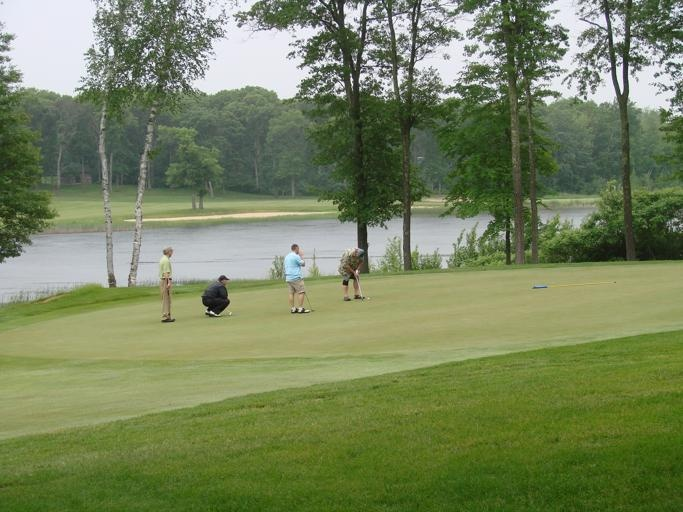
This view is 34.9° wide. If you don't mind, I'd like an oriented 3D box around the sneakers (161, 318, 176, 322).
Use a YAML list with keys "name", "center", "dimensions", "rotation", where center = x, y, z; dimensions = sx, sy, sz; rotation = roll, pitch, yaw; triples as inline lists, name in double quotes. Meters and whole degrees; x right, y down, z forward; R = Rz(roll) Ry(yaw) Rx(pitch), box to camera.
- name: "sneakers"
  center: [-6.420, 2.490, 40.513]
  dimensions: [0.511, 0.213, 0.169]
  rotation: [-2, 1, -28]

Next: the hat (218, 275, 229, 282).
- name: "hat"
  center: [-4.926, 1.047, 45.344]
  dimensions: [0.494, 0.252, 0.357]
  rotation: [-7, 11, -39]

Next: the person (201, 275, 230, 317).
- name: "person"
  center: [-4.725, 1.619, 41.062]
  dimensions: [0.958, 1.078, 0.976]
  rotation: [-1, 1, -3]

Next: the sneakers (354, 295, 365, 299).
- name: "sneakers"
  center: [0.724, 1.678, 42.002]
  dimensions: [0.342, 0.143, 0.143]
  rotation: [0, 3, -5]

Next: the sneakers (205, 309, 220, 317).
- name: "sneakers"
  center: [-4.825, 2.250, 40.778]
  dimensions: [0.545, 0.241, 0.216]
  rotation: [6, -3, -13]

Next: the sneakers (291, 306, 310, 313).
- name: "sneakers"
  center: [-1.562, 2.130, 40.523]
  dimensions: [0.459, 0.163, 0.294]
  rotation: [-2, 0, 14]
